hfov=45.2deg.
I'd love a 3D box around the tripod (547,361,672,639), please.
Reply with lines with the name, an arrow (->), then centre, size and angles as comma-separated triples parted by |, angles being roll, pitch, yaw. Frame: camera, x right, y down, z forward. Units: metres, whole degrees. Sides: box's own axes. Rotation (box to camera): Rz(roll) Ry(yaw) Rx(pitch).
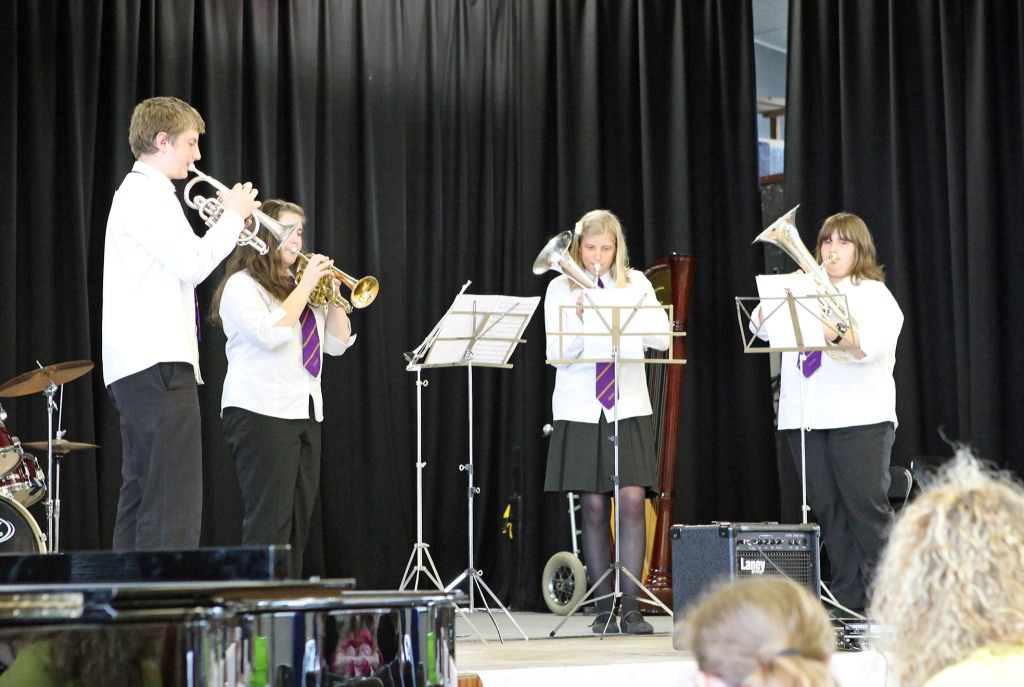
tripod -> 0.480, 0.775, 6.198 | 0.539, 1.326, 0.501 | 1, -9, -21

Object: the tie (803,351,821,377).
tie -> 1.486, 0.096, 6.075 | 0.098, 0.144, 0.075 | 4, 9, 14

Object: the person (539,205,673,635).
person -> 0.476, 0.355, 6.178 | 0.724, 1.976, 0.609 | 1, -1, 3

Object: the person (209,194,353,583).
person -> -1.008, 0.197, 5.630 | 0.543, 1.897, 0.583 | 1, 4, -36

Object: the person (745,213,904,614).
person -> 1.586, 0.365, 6.158 | 0.761, 2.045, 0.624 | 3, 3, 26

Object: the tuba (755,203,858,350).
tuba -> 1.436, -0.333, 5.949 | 0.256, 0.688, 0.431 | 1, -9, -20

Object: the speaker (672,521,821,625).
speaker -> 1.017, 0.944, 5.835 | 0.854, 0.613, 0.657 | 2, -2, -14

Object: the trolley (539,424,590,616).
trolley -> 0.310, 1.002, 6.851 | 0.214, 1.037, 0.363 | 11, -9, -37

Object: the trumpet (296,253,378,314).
trumpet -> -0.875, -0.297, 6.049 | 0.240, 0.385, 0.555 | 2, 3, 37
